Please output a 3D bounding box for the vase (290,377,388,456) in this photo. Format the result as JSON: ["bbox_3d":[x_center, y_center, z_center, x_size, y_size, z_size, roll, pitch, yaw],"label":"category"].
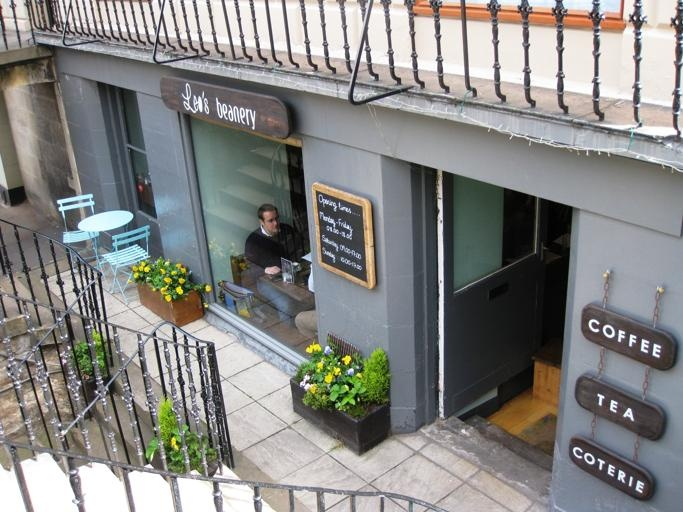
[{"bbox_3d":[-0.010,1.637,6.650,0.633,0.507,1.161,-24,33,-30],"label":"vase"}]

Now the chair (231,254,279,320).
[{"bbox_3d":[-1.253,0.341,7.923,0.404,0.238,0.565,-15,49,-26],"label":"chair"}]

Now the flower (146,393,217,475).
[{"bbox_3d":[-1.431,1.620,5.388,0.494,0.507,0.807,22,50,-25],"label":"flower"}]

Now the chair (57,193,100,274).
[{"bbox_3d":[-4.530,-0.377,10.366,0.704,1.189,0.777,-13,20,-14],"label":"chair"}]

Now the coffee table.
[{"bbox_3d":[-3.876,-0.299,9.902,0.885,0.583,0.904,11,41,13],"label":"coffee table"}]

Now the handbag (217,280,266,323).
[{"bbox_3d":[-1.331,0.616,8.237,0.860,0.353,0.276,23,43,27],"label":"handbag"}]

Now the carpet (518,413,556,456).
[{"bbox_3d":[2.227,1.978,6.643,0.345,0.023,0.305,-24,31,-34],"label":"carpet"}]

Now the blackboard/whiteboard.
[{"bbox_3d":[0.049,-0.229,5.903,0.096,0.961,0.845,-28,40,-35],"label":"blackboard/whiteboard"}]

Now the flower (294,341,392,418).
[{"bbox_3d":[-0.047,1.300,6.326,1.042,0.839,0.563,17,33,34],"label":"flower"}]

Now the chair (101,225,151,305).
[{"bbox_3d":[-3.408,0.030,9.496,0.685,0.984,0.615,15,24,37],"label":"chair"}]

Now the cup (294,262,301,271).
[{"bbox_3d":[-0.527,0.141,7.298,0.054,0.060,0.140,-25,44,-28],"label":"cup"}]
